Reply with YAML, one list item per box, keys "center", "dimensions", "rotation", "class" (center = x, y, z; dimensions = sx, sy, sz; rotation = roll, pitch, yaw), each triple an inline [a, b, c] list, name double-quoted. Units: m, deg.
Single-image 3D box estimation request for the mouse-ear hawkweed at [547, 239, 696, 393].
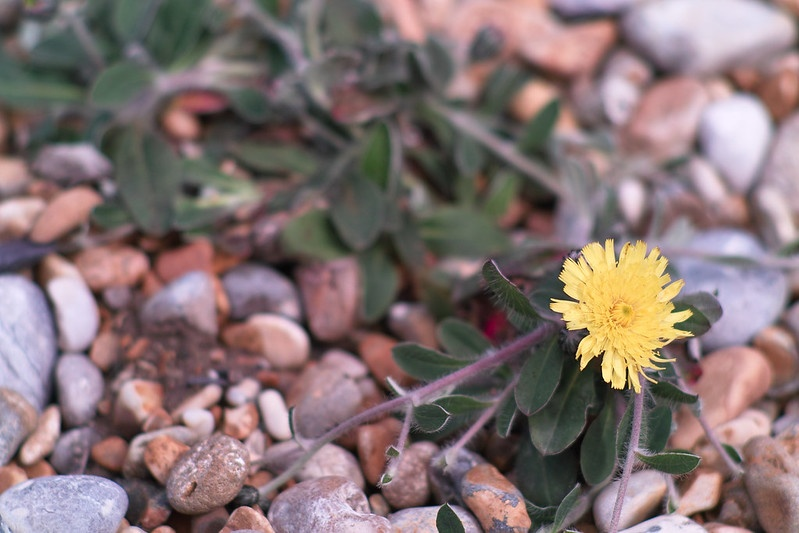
- center: [0.364, 0.066, 1.299]
  dimensions: [0.170, 0.101, 0.198]
  rotation: [-1, 20, 19]
  class: "mouse-ear hawkweed"
